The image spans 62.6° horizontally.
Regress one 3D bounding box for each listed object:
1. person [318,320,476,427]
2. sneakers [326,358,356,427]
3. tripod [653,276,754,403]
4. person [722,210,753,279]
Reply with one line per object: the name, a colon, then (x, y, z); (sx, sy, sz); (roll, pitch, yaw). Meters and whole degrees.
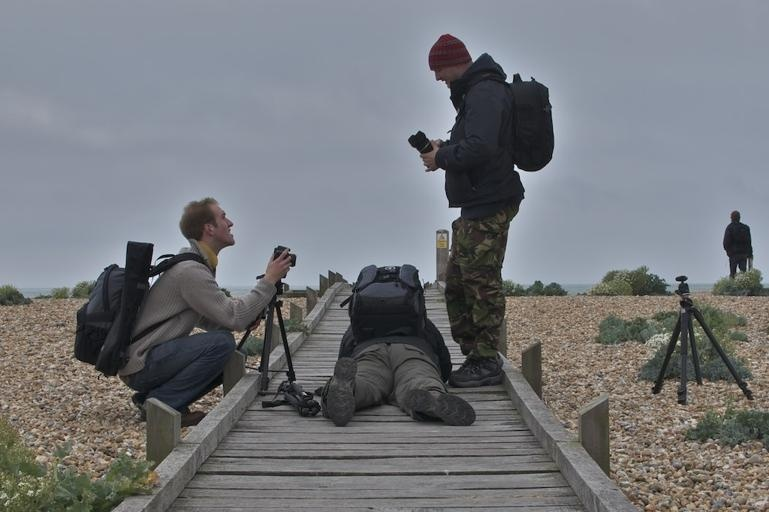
person: (0.056, 1.148, 6.577); (1.320, 0.836, 2.010); (-3, 5, -1)
sneakers: (-0.392, 1.276, 5.917); (0.250, 0.685, 0.277); (4, -6, 1)
tripod: (5.307, 1.454, 10.484); (1.579, 2.282, 1.551); (-6, -4, 5)
person: (10.574, -0.335, 18.827); (0.776, 1.948, 0.830); (8, 17, 30)
